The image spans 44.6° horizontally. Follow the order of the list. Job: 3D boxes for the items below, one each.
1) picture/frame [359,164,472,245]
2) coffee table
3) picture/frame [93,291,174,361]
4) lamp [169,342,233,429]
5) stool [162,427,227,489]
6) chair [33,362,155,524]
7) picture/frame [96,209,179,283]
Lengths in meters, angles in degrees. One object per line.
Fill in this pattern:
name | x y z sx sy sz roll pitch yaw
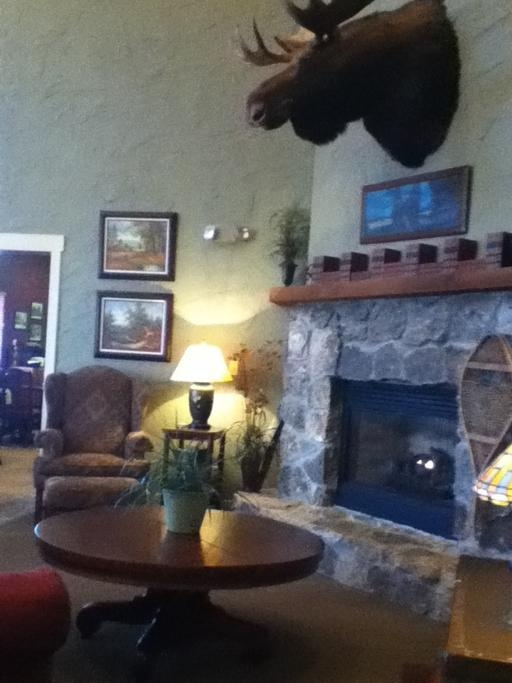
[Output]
picture/frame | 0.809 -0.710 3.280 0.070 0.331 0.716 -3 5 -36
coffee table | -0.291 0.855 2.143 0.994 0.377 0.764 3 -3 13
picture/frame | -0.892 -0.115 4.624 0.589 0.453 0.041 2 -4 2
lamp | -0.387 0.297 4.191 0.445 0.576 0.445 1 -2 38
stool | -0.444 0.790 4.208 0.419 0.428 0.353 3 0 -13
chair | -1.082 0.656 4.120 0.883 0.926 0.802 4 -1 27
picture/frame | -0.861 -0.720 4.629 0.638 0.487 0.047 1 4 6
